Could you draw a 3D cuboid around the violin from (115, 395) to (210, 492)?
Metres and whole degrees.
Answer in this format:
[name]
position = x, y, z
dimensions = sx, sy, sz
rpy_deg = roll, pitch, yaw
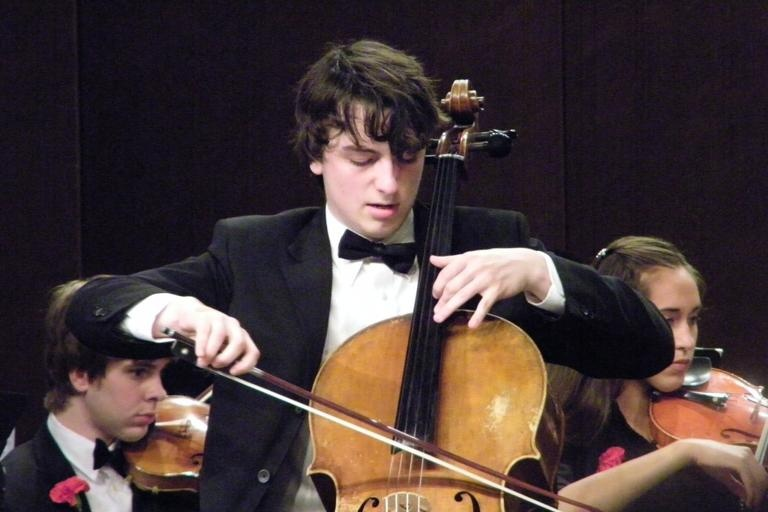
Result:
[violin]
position = -0.767, 0.653, 2.722
dimensions = 0.300, 0.247, 0.451
rpy_deg = 9, 7, 27

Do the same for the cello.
[cello]
position = 0.126, 0.138, 2.453
dimensions = 0.680, 1.036, 0.702
rpy_deg = 2, 13, -7
